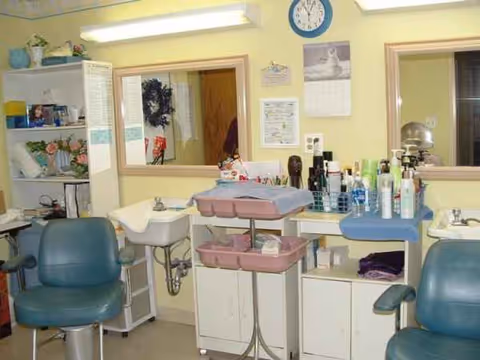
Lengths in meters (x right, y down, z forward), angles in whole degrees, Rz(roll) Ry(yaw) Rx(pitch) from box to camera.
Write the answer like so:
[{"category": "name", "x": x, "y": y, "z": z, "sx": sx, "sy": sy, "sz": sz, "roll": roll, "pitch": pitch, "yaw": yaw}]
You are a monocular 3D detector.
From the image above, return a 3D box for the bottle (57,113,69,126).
[{"category": "bottle", "x": -1.578, "y": -0.545, "z": 3.487, "sx": 0.115, "sy": 0.113, "sz": 0.050, "roll": 1, "pitch": 8, "yaw": 19}]

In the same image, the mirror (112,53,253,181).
[{"category": "mirror", "x": -0.435, "y": -0.544, "z": 3.213, "sx": 1.186, "sy": 0.904, "sz": 0.054, "roll": 0, "pitch": 6, "yaw": 20}]

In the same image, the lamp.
[{"category": "lamp", "x": -0.553, "y": -1.226, "z": 3.059, "sx": 1.380, "sy": 0.134, "sz": 0.288, "roll": 1, "pitch": 7, "yaw": 20}]

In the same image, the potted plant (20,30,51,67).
[{"category": "potted plant", "x": -1.859, "y": -1.179, "z": 3.585, "sx": 0.177, "sy": 0.213, "sz": 0.187, "roll": -5, "pitch": 10, "yaw": 6}]

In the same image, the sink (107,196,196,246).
[{"category": "sink", "x": -0.622, "y": 0.248, "z": 3.010, "sx": 0.412, "sy": 0.187, "sz": 0.462, "roll": -1, "pitch": 6, "yaw": 28}]

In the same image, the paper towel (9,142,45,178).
[{"category": "paper towel", "x": -1.968, "y": -0.162, "z": 3.629, "sx": 0.239, "sy": 0.352, "sz": 0.108, "roll": -42, "pitch": 15, "yaw": -27}]

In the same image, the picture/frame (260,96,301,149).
[{"category": "picture/frame", "x": 0.314, "y": -0.450, "z": 2.973, "sx": 0.424, "sy": 0.471, "sz": 0.035, "roll": 1, "pitch": 4, "yaw": 24}]

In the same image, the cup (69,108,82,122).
[{"category": "cup", "x": -1.461, "y": -0.578, "z": 3.462, "sx": 0.097, "sy": 0.130, "sz": 0.074, "roll": -3, "pitch": 7, "yaw": -11}]

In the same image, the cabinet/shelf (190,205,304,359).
[{"category": "cabinet/shelf", "x": 0.037, "y": 0.754, "z": 2.640, "sx": 0.827, "sy": 1.062, "sz": 0.621, "roll": 0, "pitch": 7, "yaw": 14}]

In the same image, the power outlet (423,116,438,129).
[{"category": "power outlet", "x": 1.281, "y": -0.393, "z": 2.643, "sx": 0.093, "sy": 0.102, "sz": 0.011, "roll": 1, "pitch": 1, "yaw": 27}]

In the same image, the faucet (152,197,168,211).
[{"category": "faucet", "x": -0.656, "y": 0.199, "z": 3.219, "sx": 0.098, "sy": 0.094, "sz": 0.107, "roll": 0, "pitch": 0, "yaw": 43}]
